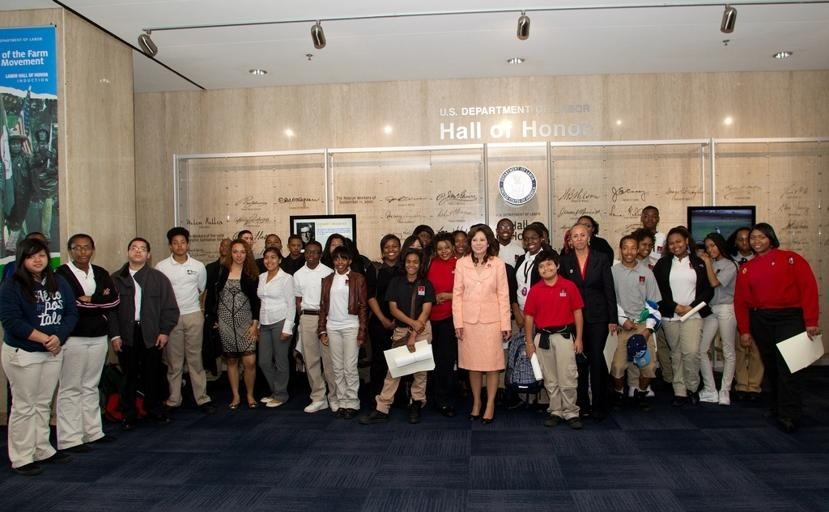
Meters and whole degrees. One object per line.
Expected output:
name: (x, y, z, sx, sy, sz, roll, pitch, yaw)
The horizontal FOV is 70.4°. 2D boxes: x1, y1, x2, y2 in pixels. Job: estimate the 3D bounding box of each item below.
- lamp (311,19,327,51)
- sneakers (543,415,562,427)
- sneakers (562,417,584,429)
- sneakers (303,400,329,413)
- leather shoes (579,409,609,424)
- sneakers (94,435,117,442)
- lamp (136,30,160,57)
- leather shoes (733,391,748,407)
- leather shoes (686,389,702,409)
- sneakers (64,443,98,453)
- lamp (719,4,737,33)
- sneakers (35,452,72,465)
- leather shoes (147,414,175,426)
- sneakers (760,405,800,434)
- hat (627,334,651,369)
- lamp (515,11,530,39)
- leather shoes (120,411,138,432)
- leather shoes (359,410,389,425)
lamp: (-1.475, -3.375, 8.988, 0.216, 0.392, 0.245, 2, 14, 14)
sneakers: (1.922, 2.292, 8.194, 0.256, 0.123, 0.167, 0, 15, 3)
sneakers: (2.174, 2.301, 8.118, 0.262, 0.139, 0.154, 9, 17, 33)
sneakers: (-1.479, 2.263, 8.852, 0.372, 0.148, 0.144, 5, -8, -41)
leather shoes: (2.517, 2.271, 8.332, 0.191, 0.151, 0.440, -1, 0, -27)
sneakers: (-4.169, 2.467, 7.958, 0.296, 0.112, 0.096, -2, -1, -8)
lamp: (-4.219, -3.386, 9.282, 0.167, 0.174, 0.297, 17, -8, -6)
leather shoes: (4.972, 2.170, 8.941, 0.190, 0.128, 0.184, 0, -4, 14)
leather shoes: (4.179, 2.133, 8.821, 0.113, 0.295, 0.121, -4, -8, 32)
sneakers: (-4.422, 2.527, 7.762, 0.397, 0.154, 0.128, -1, -6, -3)
lamp: (4.723, -3.576, 8.856, 0.198, 0.367, 0.668, 6, 16, 27)
sneakers: (-4.599, 2.579, 7.527, 0.413, 0.161, 0.142, -1, -7, -10)
leather shoes: (-3.651, 2.366, 8.472, 0.374, 0.145, 0.138, 1, 1, 0)
sneakers: (5.022, 2.211, 8.069, 0.253, 0.223, 0.575, -1, 14, 0)
hat: (3.212, 1.369, 8.495, 0.348, 0.465, 0.161, -20, -13, 38)
lamp: (1.654, -3.517, 8.984, 0.208, 0.355, 0.697, 2, 15, 11)
leather shoes: (-4.025, 2.325, 8.268, 0.207, 0.224, 0.202, -11, 18, -34)
leather shoes: (-0.597, 2.320, 8.431, 0.458, 0.178, 0.162, 2, -4, -8)
